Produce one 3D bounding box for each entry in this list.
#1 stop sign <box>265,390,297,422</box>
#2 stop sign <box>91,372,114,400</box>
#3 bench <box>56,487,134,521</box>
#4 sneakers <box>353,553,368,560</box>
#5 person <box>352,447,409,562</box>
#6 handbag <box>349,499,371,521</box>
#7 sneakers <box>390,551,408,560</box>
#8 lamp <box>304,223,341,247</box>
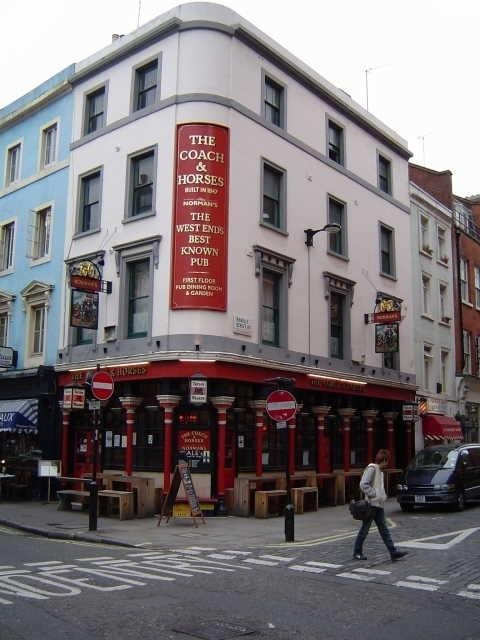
[{"bbox_3d":[0.832,1.655,12.283,0.566,0.617,0.392,-5,-13,20],"label":"stop sign"},{"bbox_3d":[-3.106,1.442,14.121,0.340,0.633,0.815,-1,-12,2],"label":"stop sign"},{"bbox_3d":[-3.731,4.757,16.287,1.259,0.709,3.240,9,-17,-39],"label":"bench"},{"bbox_3d":[1.788,3.518,9.303,0.199,0.154,0.074,-3,-3,5],"label":"sneakers"},{"bbox_3d":[2.128,2.852,9.799,0.759,1.595,1.548,-4,-12,12],"label":"person"},{"bbox_3d":[1.726,2.763,9.240,0.310,0.409,0.300,-1,-20,-1],"label":"handbag"},{"bbox_3d":[2.347,3.461,9.239,0.227,0.147,0.419,-4,-13,13],"label":"sneakers"},{"bbox_3d":[2.691,-2.834,20.232,1.281,0.920,0.693,0,0,40],"label":"lamp"}]
